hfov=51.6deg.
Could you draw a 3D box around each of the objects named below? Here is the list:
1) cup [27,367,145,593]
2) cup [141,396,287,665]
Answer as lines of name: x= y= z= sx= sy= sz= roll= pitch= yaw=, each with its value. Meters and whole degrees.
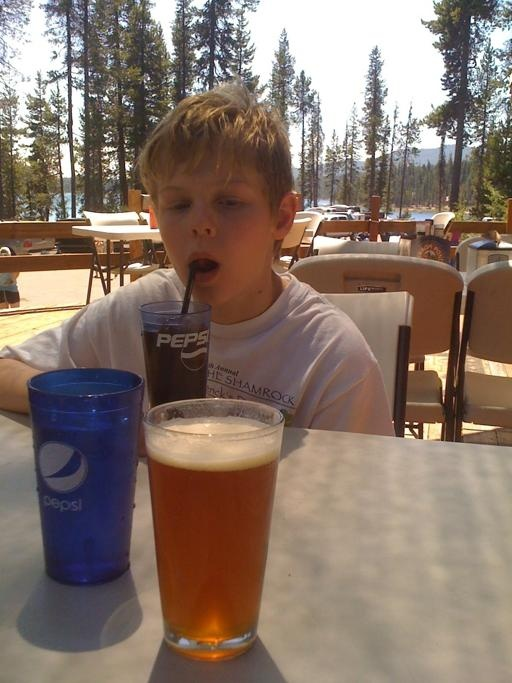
cup: x=-0.139 y=0.107 z=0.437 sx=0.088 sy=0.157 sz=0.111 roll=-1 pitch=9 yaw=-20
cup: x=-0.030 y=0.122 z=0.375 sx=0.092 sy=0.146 sz=0.106 roll=-2 pitch=9 yaw=-24
